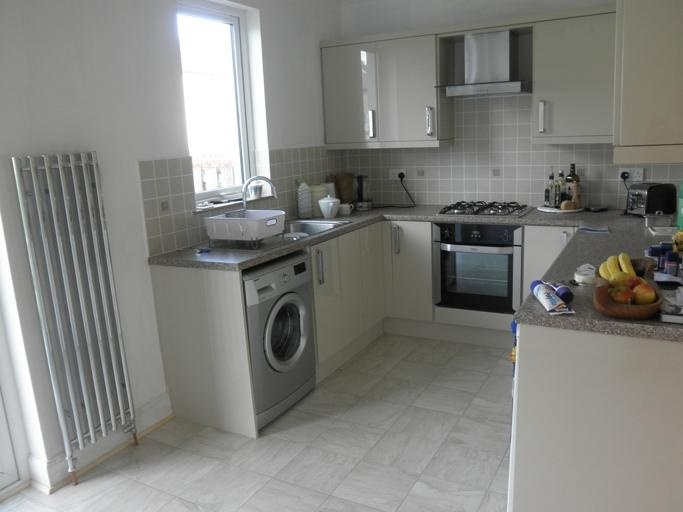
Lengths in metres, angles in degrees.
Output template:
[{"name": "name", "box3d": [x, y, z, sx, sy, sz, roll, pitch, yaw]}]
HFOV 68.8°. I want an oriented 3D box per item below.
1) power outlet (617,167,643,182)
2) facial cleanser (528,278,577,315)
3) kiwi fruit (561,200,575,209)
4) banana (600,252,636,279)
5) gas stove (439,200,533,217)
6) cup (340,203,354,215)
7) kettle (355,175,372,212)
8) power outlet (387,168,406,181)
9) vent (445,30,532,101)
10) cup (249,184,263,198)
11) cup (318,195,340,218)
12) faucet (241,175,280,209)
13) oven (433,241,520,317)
[{"name": "power outlet", "box3d": [2.356, -0.661, 4.031, 0.180, 0.116, 0.040, 1, 14, 28]}, {"name": "facial cleanser", "box3d": [0.940, 0.159, 2.201, 0.167, 0.075, 0.369, -3, 13, 17]}, {"name": "kiwi fruit", "box3d": [1.841, -0.412, 4.026, 0.097, 0.069, 0.057, -2, 13, 21]}, {"name": "banana", "box3d": [1.225, 0.028, 2.189, 0.101, 0.083, 0.217, -5, 8, 16]}, {"name": "gas stove", "box3d": [1.238, -0.414, 4.281, 0.746, 0.091, 0.542, -3, 13, 16]}, {"name": "cup", "box3d": [0.058, -0.428, 4.478, 0.125, 0.094, 0.081, -4, 7, -32]}, {"name": "kettle", "box3d": [0.209, -0.616, 4.778, 0.151, 0.306, 0.429, -5, 13, 4]}, {"name": "power outlet", "box3d": [0.537, -0.790, 4.840, 0.161, 0.113, 0.038, 3, 13, 34]}, {"name": "vent", "box3d": [1.204, -1.575, 4.119, 0.732, 0.524, 0.475, -1, 13, 22]}, {"name": "cup", "box3d": [-0.702, -0.531, 4.086, 0.106, 0.095, 0.103, -10, 1, 0]}, {"name": "cup", "box3d": [-0.091, -0.429, 4.260, 0.148, 0.178, 0.186, 0, 2, 30]}, {"name": "faucet", "box3d": [-0.631, -0.487, 3.822, 0.290, 0.256, 0.728, -8, 13, -8]}, {"name": "oven", "box3d": [1.144, 0.179, 4.110, 0.552, 0.588, 0.472, 8, 14, 23]}]
